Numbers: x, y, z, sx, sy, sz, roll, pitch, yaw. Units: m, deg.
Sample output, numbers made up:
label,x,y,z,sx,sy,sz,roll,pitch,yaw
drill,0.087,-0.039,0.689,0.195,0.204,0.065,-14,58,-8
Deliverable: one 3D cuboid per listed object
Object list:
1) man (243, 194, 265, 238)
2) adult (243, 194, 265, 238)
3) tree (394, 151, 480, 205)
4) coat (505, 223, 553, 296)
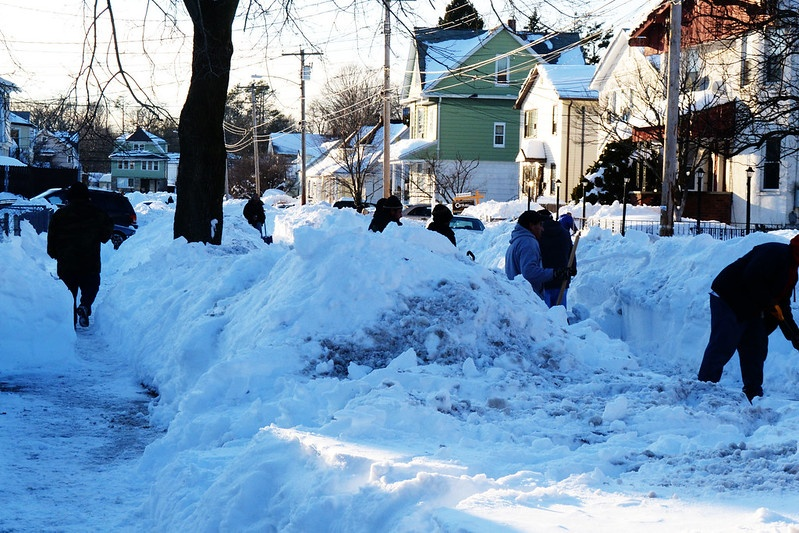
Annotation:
label,x,y,z,sx,sy,sz,roll,pitch,yaw
man,-3.545,-1.227,29.008,0.458,0.982,1.284,0,4,-6
adult,-3.543,-1.225,28.991,0.458,0.982,1.251,0,4,-6
tree,1.854,-4.000,53.708,2.869,2.798,2.067,3,-8,3
coat,2.124,-0.066,19.403,0.518,1.011,1.005,-6,8,-16
